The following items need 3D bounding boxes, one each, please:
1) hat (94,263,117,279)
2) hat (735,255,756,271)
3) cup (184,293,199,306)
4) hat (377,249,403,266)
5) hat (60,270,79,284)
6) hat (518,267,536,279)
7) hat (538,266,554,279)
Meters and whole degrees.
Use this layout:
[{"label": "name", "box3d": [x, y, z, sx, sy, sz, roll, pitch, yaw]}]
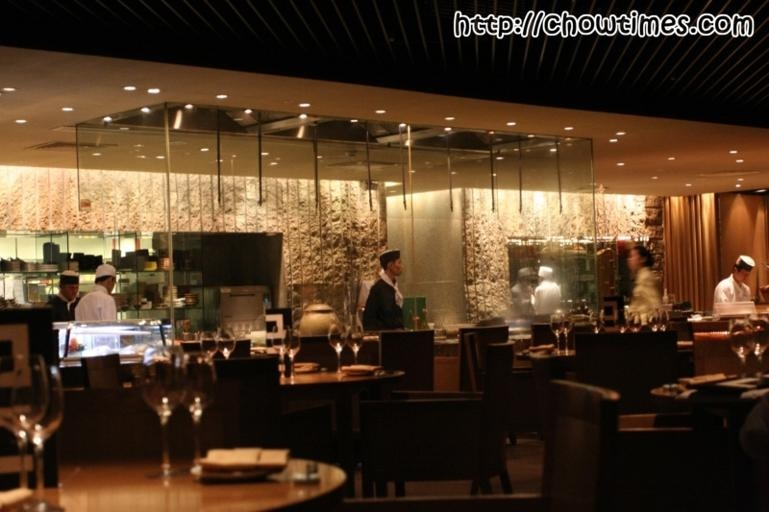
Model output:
[{"label": "hat", "box3d": [-3.297, 0.170, 8.586, 0.198, 0.130, 0.189, -7, 5, -35]}, {"label": "hat", "box3d": [5.764, 0.107, 11.660, 0.305, 0.180, 0.351, 4, 17, -2]}, {"label": "cup", "box3d": [-2.200, 0.490, 8.261, 0.132, 0.093, 0.128, 3, -5, 0]}, {"label": "hat", "box3d": [0.048, 0.009, 8.528, 0.217, 0.168, 0.180, -29, 1, 5]}, {"label": "hat", "box3d": [-3.736, 0.255, 8.527, 0.246, 0.150, 0.239, -4, -2, 21]}, {"label": "hat", "box3d": [1.872, 0.205, 9.677, 0.182, 0.143, 0.139, -27, 5, -2]}, {"label": "hat", "box3d": [2.159, 0.208, 9.785, 0.152, 0.148, 0.196, 5, 5, 9]}]
